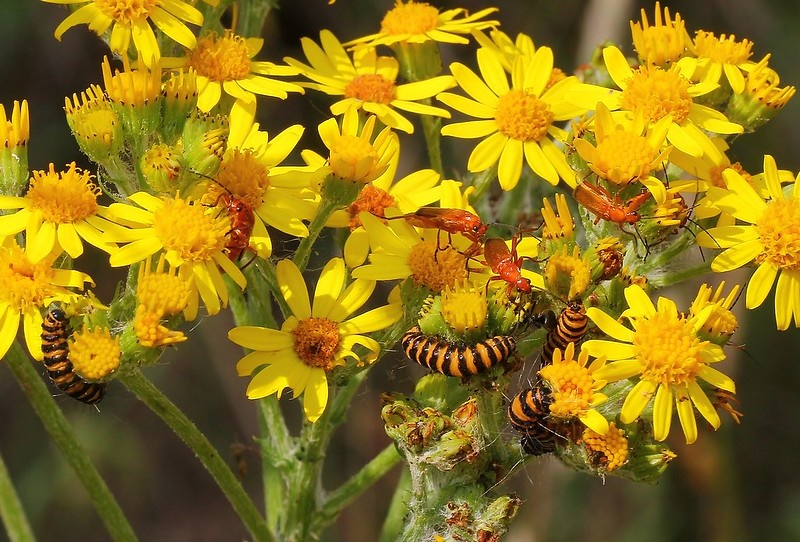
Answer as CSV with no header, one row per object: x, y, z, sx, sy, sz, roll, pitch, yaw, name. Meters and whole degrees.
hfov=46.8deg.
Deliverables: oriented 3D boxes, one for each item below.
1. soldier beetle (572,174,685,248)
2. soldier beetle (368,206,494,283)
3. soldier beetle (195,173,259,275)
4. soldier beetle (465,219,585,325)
1.204,-0.321,5.076,0.487,0.309,0.153,16,23,14,soldier beetle
0.264,-0.222,5.072,0.408,0.454,0.398,-7,13,-19,soldier beetle
-0.901,-0.261,4.893,0.221,0.518,0.265,0,18,8,soldier beetle
0.592,-0.012,5.136,0.479,0.354,0.129,59,-2,14,soldier beetle
